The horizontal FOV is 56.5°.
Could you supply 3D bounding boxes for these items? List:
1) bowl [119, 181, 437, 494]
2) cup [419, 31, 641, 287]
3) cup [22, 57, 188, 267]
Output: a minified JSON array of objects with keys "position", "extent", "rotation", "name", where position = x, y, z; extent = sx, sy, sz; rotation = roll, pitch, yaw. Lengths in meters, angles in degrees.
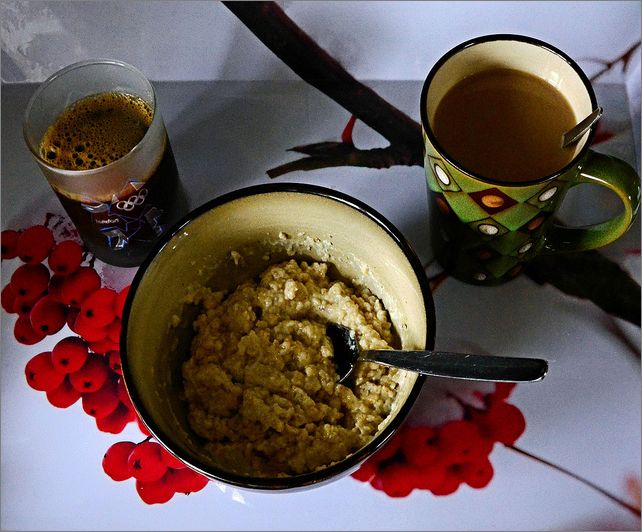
[{"position":[-0.081,0.023,0.737],"extent":[0.343,0.203,0.409],"rotation":[1,85,0],"name":"bowl"},{"position":[0.275,-0.122,0.788],"extent":[0.248,0.260,0.184],"rotation":[26,75,22],"name":"cup"},{"position":[-0.321,-0.136,0.896],"extent":[0.164,0.282,0.190],"rotation":[3,60,-8],"name":"cup"}]
